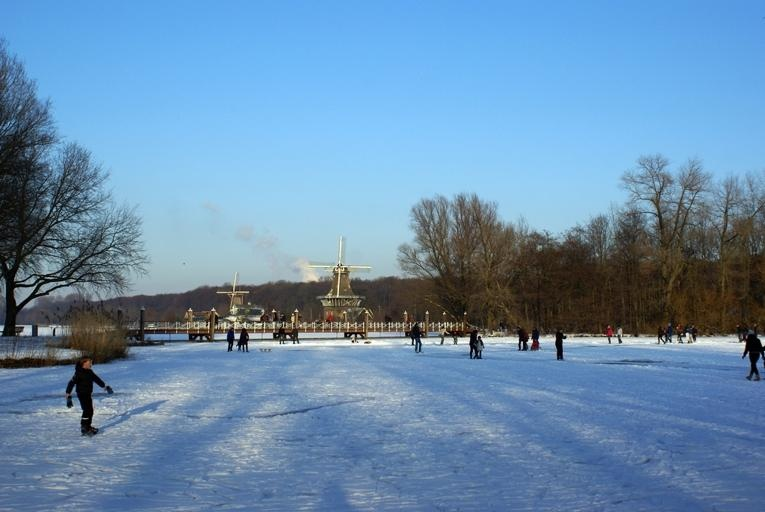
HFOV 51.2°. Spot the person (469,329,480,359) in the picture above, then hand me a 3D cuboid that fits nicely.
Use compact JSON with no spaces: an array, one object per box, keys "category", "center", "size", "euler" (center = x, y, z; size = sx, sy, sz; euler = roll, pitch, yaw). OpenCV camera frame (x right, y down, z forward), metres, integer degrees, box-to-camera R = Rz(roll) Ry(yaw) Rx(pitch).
[{"category":"person","center":[5.053,4.935,44.657],"size":[0.524,1.525,1.867],"euler":[-1,-2,6]}]

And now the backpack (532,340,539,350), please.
[{"category":"backpack","center":[9.753,5.734,51.411],"size":[0.373,0.689,1.188],"euler":[-2,-2,16]}]

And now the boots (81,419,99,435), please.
[{"category":"boots","center":[-9.020,5.254,24.448],"size":[0.356,0.542,0.575],"euler":[1,1,15]}]

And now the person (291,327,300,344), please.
[{"category":"person","center":[-7.374,6.776,67.001],"size":[0.300,1.159,2.024],"euler":[-1,-2,-13]}]
